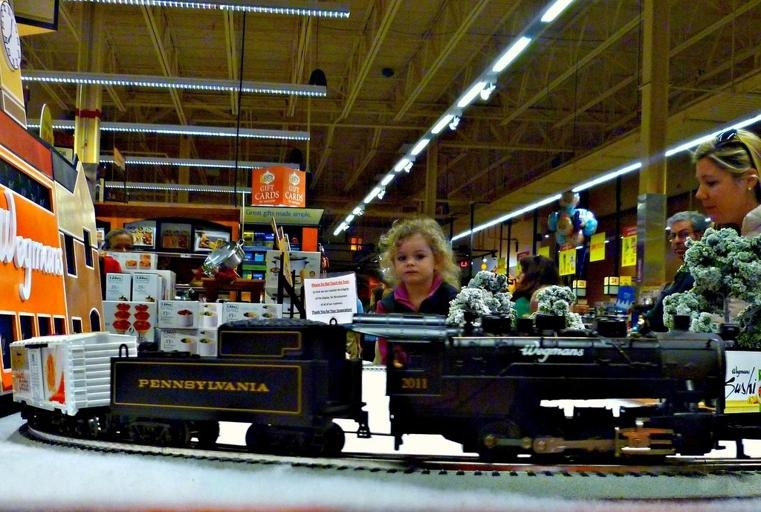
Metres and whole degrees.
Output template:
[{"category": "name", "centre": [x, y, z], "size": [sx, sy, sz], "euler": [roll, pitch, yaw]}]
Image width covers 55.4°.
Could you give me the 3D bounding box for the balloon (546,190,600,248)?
[{"category": "balloon", "centre": [4.072, -0.820, 15.381], "size": [0.612, 1.144, 1.321], "euler": [0, 5, -4]}]

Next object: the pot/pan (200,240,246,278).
[{"category": "pot/pan", "centre": [-2.320, 0.061, 10.721], "size": [0.663, 0.373, 0.380], "euler": [-35, 22, -7]}]
